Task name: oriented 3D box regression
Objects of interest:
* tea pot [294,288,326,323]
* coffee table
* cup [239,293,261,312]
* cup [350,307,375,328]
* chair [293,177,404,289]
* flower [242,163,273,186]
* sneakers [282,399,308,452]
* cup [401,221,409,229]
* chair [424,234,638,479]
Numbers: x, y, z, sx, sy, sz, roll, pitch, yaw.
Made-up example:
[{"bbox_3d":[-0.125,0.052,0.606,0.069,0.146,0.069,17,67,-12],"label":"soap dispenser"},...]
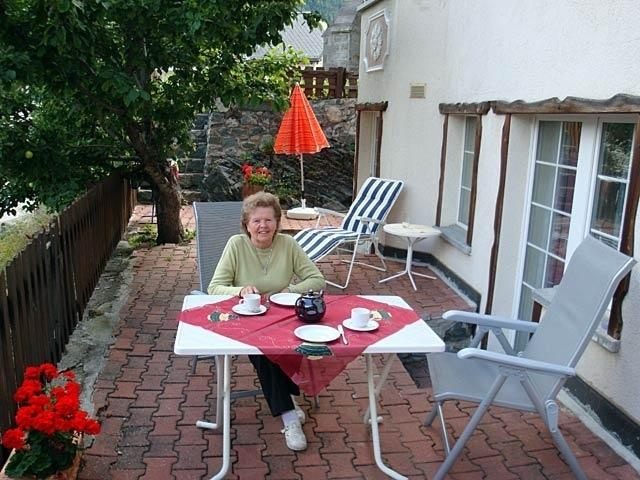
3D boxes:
[{"bbox_3d":[-0.076,0.444,3.007,0.162,0.149,0.207,-1,1,4],"label":"tea pot"},{"bbox_3d":[1.384,0.261,6.892,1.036,0.852,1.003,0,12,-5],"label":"coffee table"},{"bbox_3d":[-0.472,0.428,3.105,0.125,0.086,0.099,2,6,29],"label":"cup"},{"bbox_3d":[0.279,0.496,2.937,0.128,0.093,0.096,1,5,-7],"label":"cup"},{"bbox_3d":[0.398,-0.178,7.300,1.889,1.464,1.098,-13,21,-35],"label":"chair"},{"bbox_3d":[-1.516,-1.581,11.108,0.728,0.476,0.619,4,10,8],"label":"flower"},{"bbox_3d":[-0.201,1.388,3.374,0.140,0.169,0.382,-3,9,-12],"label":"sneakers"},{"bbox_3d":[1.297,-0.224,6.900,0.084,0.083,0.094,2,-1,27],"label":"cup"},{"bbox_3d":[1.446,0.600,3.791,1.714,2.152,1.453,4,12,3],"label":"chair"}]
